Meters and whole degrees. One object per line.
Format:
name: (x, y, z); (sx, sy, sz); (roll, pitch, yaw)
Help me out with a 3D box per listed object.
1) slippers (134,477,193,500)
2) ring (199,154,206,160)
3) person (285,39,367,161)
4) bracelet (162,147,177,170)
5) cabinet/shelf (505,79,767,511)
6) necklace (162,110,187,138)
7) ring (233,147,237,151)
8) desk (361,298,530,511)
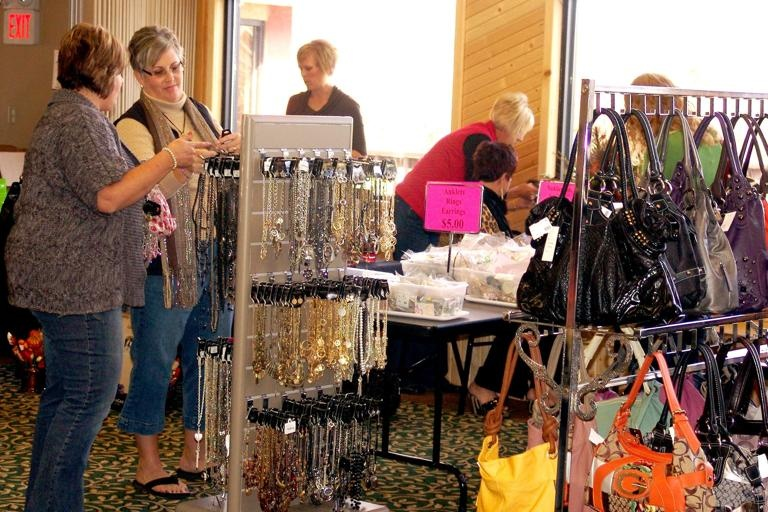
slippers: (-1.173, 1.211, 3.619); (0.224, 0.072, 0.129); (2, 2, 29)
ring: (-0.770, -0.424, 2.906); (0.013, 0.018, 0.004); (29, 6, 5)
person: (-0.512, -1.330, 5.809); (0.738, 0.861, 0.456); (1, 0, 5)
bracelet: (-0.887, -0.416, 2.846); (0.057, 0.087, 0.052); (1, 0, -16)
cabinet/shelf: (1.106, 0.144, 2.804); (1.025, 1.736, 0.693); (1, 0, -41)
necklace: (-1.072, -0.685, 3.529); (0.058, 0.169, 0.115); (-22, -14, 33)
ring: (-0.641, -0.464, 2.936); (0.009, 0.017, 0.006); (0, 9, -21)
desk: (0.312, 0.673, 3.971); (0.966, 1.184, 1.199); (1, 0, 41)
